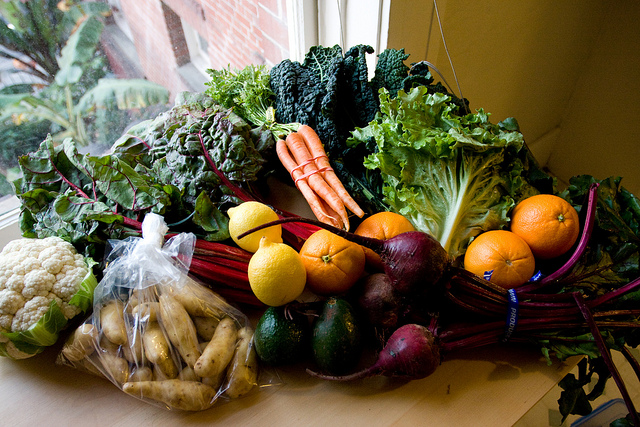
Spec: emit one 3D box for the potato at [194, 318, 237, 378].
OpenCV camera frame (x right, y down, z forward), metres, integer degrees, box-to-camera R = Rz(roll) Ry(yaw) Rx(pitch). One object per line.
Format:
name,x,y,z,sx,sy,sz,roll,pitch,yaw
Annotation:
potato,-0.272,0.365,1.349,0.082,0.074,0.190,13,50,18

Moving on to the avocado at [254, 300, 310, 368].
avocado,-0.102,0.322,1.315,0.148,0.130,0.107,-10,36,-11

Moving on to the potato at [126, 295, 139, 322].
potato,-0.518,0.256,1.344,0.026,0.051,0.044,2,-8,15

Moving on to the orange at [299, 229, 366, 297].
orange,0.035,0.143,1.437,0.178,0.185,0.177,-13,-10,14

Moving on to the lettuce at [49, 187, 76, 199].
lettuce,-0.782,-0.060,1.478,0.051,0.046,0.014,0,51,4

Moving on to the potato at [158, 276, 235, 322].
potato,-0.348,0.240,1.359,0.152,0.050,0.049,30,17,3

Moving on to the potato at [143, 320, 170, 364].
potato,-0.437,0.338,1.305,0.056,0.111,0.060,-19,-13,17

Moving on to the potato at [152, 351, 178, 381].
potato,-0.415,0.411,1.295,0.066,0.053,0.044,-19,38,-22

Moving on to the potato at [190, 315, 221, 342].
potato,-0.324,0.319,1.350,0.059,0.042,0.076,-1,69,-13

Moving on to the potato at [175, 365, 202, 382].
potato,-0.351,0.425,1.308,0.067,0.040,0.032,3,1,2

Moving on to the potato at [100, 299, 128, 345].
potato,-0.558,0.292,1.325,0.065,0.040,0.112,-20,56,-12

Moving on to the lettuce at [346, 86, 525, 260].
lettuce,0.372,-0.124,1.606,0.457,0.516,0.306,14,-1,-1

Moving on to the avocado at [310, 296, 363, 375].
avocado,0.043,0.324,1.324,0.107,0.193,0.129,-10,-11,41

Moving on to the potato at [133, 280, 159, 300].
potato,-0.473,0.209,1.347,0.054,0.041,0.031,-9,36,-10

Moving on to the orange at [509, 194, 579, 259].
orange,0.659,0.033,1.485,0.170,0.183,0.175,32,37,32

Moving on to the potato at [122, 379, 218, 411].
potato,-0.384,0.473,1.301,0.246,0.086,0.081,10,-11,-11

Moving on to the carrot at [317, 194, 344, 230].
carrot,0.033,-0.005,1.489,0.021,0.031,0.119,-17,62,-39

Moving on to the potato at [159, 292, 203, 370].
potato,-0.374,0.310,1.363,0.076,0.243,0.080,-19,-7,-26

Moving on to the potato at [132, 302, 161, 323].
potato,-0.469,0.269,1.324,0.072,0.040,0.035,-7,35,-7

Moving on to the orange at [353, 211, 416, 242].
orange,0.191,0.038,1.466,0.124,0.093,0.164,0,2,-6

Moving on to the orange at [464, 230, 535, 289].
orange,0.509,0.127,1.386,0.185,0.123,0.118,0,35,2

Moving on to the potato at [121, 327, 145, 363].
potato,-0.498,0.352,1.312,0.051,0.098,0.051,-14,-15,15

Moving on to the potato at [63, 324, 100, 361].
potato,-0.646,0.348,1.327,0.101,0.072,0.059,-13,37,-15

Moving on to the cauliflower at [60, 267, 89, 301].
cauliflower,-0.686,0.194,1.369,0.074,0.055,0.059,-17,38,-21

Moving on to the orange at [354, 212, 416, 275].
orange,0.186,0.067,1.401,0.170,0.172,0.172,1,5,9
